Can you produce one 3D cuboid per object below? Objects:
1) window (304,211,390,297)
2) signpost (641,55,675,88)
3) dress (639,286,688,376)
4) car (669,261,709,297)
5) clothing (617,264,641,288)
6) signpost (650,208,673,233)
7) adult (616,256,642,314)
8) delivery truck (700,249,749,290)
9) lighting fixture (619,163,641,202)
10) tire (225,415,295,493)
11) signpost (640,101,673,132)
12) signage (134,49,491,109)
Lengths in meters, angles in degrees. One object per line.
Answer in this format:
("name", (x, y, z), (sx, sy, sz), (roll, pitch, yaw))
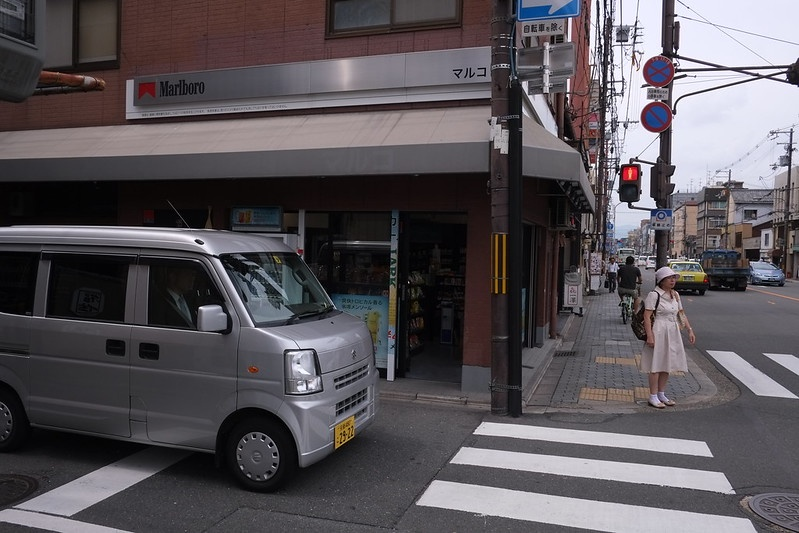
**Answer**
("window", (-0.954, -0.257, 12.947), (1.517, 1.819, 0.083), (0, 0, 13))
("signpost", (5.871, -4.430, 15.188), (0.691, 0.727, 0.341), (2, 8, 8))
("dress", (4.482, 1.106, 11.349), (0.699, 1.406, 0.449), (2, 8, 13))
("car", (13.033, 0.573, 30.212), (1.367, 1.169, 3.453), (1, 5, 10))
("clothing", (7.100, 0.291, 20.812), (0.788, 0.856, 0.451), (6, 18, 33))
("signpost", (6.178, -1.111, 15.847), (0.453, 0.518, 0.578), (3, 9, 20))
("adult", (7.039, 0.534, 20.710), (0.772, 1.798, 0.868), (3, 0, 42))
("delivery truck", (18.801, 0.183, 39.396), (2.363, 2.590, 4.827), (1, 5, 6))
("lighting fixture", (5.392, -1.971, 15.764), (0.457, 0.934, 0.351), (3, 9, 18))
("tire", (-1.774, 2.390, 8.600), (0.913, 1.015, 0.343), (-1, -1, 8))
("signpost", (5.758, -3.370, 14.987), (0.779, 0.666, 0.274), (-2, 8, -14))
("signage", (-1.368, -3.742, 13.168), (6.292, 0.868, 0.091), (3, 9, 17))
